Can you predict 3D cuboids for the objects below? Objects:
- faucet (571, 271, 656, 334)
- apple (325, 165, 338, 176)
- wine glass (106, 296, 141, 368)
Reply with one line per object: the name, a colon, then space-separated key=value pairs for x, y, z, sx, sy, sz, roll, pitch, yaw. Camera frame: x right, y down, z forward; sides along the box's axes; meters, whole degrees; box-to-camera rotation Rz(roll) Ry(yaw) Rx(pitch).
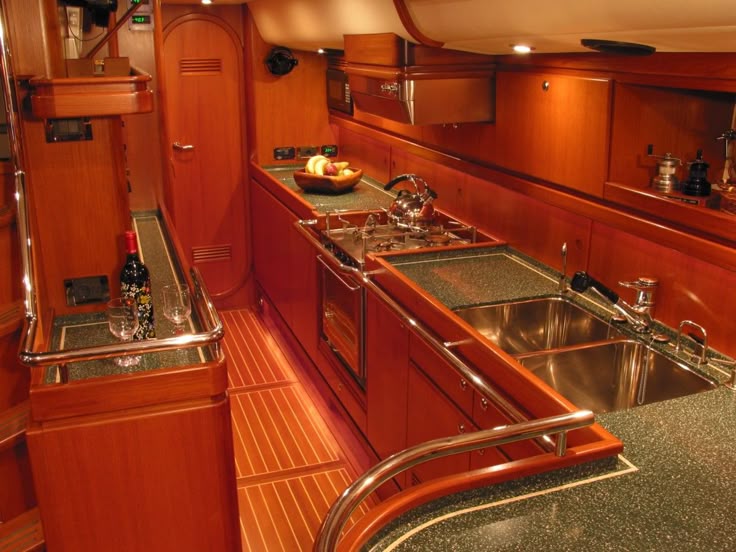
faucet: x=0.942 y=0.108 z=2.158 sx=0.078 sy=0.116 sz=0.310 roll=-29 pitch=46 yaw=-22
apple: x=-0.256 y=-0.730 z=4.006 sx=0.087 sy=0.087 sz=0.068 roll=20 pitch=17 yaw=11
wine glass: x=-0.892 y=0.187 z=2.060 sx=0.109 sy=0.231 sz=0.219 roll=-13 pitch=23 yaw=-23
